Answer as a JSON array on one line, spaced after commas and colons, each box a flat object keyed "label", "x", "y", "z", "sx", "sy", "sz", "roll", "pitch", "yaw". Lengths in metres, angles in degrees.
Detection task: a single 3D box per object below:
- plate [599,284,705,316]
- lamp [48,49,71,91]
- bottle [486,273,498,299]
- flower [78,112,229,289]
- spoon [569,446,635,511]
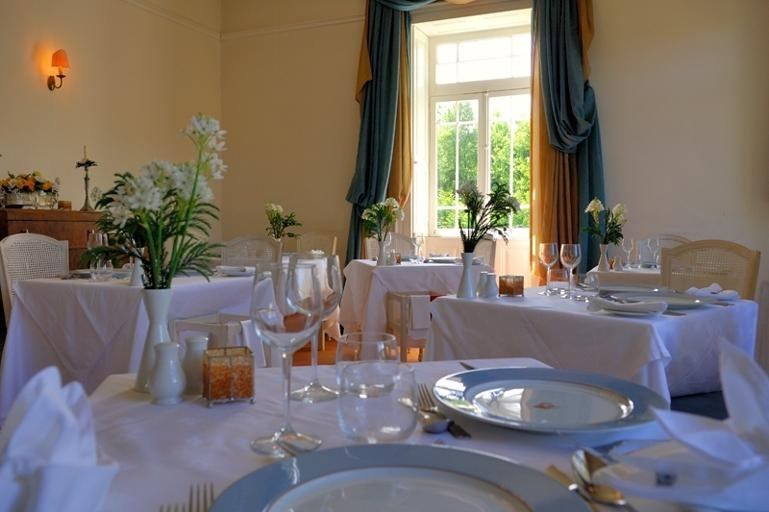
[{"label": "plate", "x": 1.012, "y": 0.154, "z": 2.145, "sx": 0.364, "sy": 0.040, "sz": 0.378, "roll": -2, "pitch": 7, "yaw": -2}, {"label": "lamp", "x": -3.058, "y": -1.763, "z": 5.305, "sx": 0.192, "sy": 0.396, "sz": 0.237, "roll": 2, "pitch": 7, "yaw": 27}, {"label": "bottle", "x": 0.446, "y": 0.119, "z": 2.309, "sx": 0.073, "sy": 0.124, "sz": 0.079, "roll": 0, "pitch": -5, "yaw": 0}, {"label": "flower", "x": -0.580, "y": -0.128, "z": 1.404, "sx": 0.302, "sy": 0.424, "sz": 0.404, "roll": -5, "pitch": 7, "yaw": -29}, {"label": "spoon", "x": 0.318, "y": 0.321, "z": 0.804, "sx": 0.026, "sy": 0.073, "sz": 0.058, "roll": -22, "pitch": -14, "yaw": 30}]
